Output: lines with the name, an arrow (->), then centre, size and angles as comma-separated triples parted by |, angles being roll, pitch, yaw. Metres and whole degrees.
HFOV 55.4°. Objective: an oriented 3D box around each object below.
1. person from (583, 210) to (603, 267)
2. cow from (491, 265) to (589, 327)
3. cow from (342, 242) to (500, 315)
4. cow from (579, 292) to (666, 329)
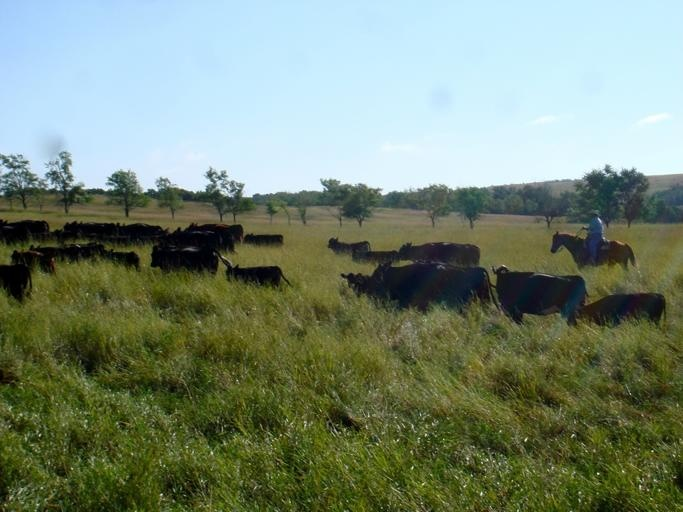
person -> 8.148, -0.650, 20.771 | 0.561, 1.605, 3.146 | 4, 6, 21
cow -> 4.219, 0.820, 13.739 | 2.340, 1.489, 0.833 | 4, 1, 43
cow -> 1.923, 0.662, 14.914 | 3.247, 1.017, 1.342 | 5, 6, 19
cow -> 5.366, 1.005, 12.363 | 1.445, 0.652, 0.587 | 5, 6, 24
